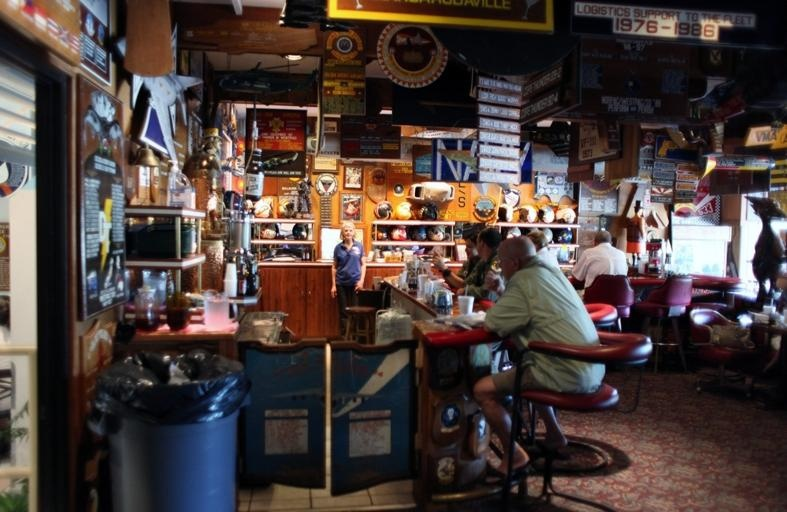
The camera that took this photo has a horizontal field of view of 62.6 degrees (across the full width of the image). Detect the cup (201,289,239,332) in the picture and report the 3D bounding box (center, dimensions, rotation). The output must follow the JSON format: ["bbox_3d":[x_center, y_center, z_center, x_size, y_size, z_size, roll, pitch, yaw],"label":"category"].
[{"bbox_3d":[-1.511,0.475,5.509,0.304,0.342,0.303,0,-2,0],"label":"cup"}]

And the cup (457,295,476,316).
[{"bbox_3d":[0.667,0.461,5.844,0.160,0.137,0.148,2,3,0],"label":"cup"}]

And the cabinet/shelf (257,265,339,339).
[{"bbox_3d":[-1.450,0.623,9.653,1.243,1.120,0.474,0,1,-7],"label":"cabinet/shelf"}]

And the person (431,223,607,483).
[{"bbox_3d":[1.129,0.830,5.222,1.055,1.997,0.677,0,0,17],"label":"person"}]

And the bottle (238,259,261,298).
[{"bbox_3d":[-1.394,0.192,6.194,0.191,0.383,0.439,0,0,-13],"label":"bottle"}]

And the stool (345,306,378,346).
[{"bbox_3d":[-0.433,0.940,8.748,0.401,0.535,0.827,0,0,-3],"label":"stool"}]

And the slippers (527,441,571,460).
[{"bbox_3d":[1.349,1.711,5.697,0.262,0.078,0.323,1,9,11],"label":"slippers"}]
